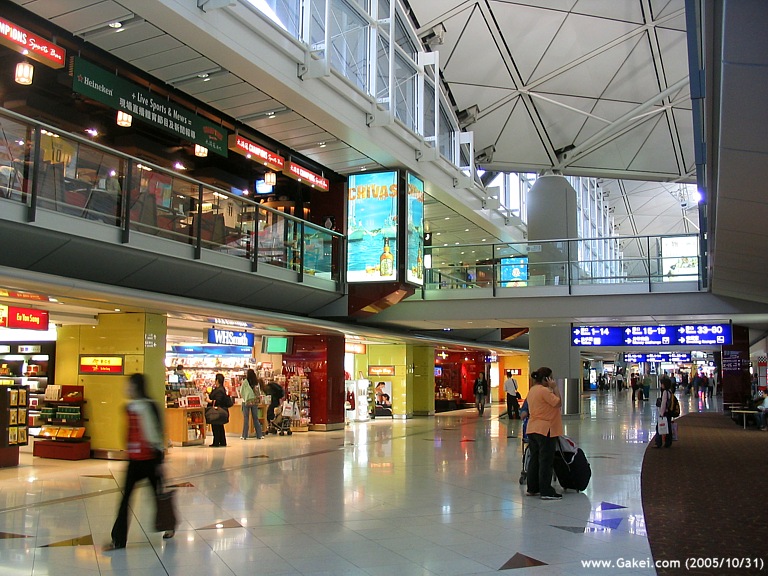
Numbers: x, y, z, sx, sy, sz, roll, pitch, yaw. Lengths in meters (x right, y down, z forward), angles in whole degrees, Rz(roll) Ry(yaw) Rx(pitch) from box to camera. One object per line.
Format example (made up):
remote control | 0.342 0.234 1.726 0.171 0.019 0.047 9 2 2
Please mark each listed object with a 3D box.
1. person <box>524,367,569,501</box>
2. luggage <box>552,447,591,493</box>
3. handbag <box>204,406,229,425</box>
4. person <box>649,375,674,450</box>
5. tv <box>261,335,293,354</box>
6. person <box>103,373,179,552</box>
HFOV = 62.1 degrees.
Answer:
person | 2.464 2.241 9.935 0.565 1.985 0.536 -3 -6 12
luggage | 3.124 2.849 10.446 0.595 0.875 0.533 -7 19 8
handbag | -4.332 3.256 16.358 0.595 0.432 0.470 -2 -6 4
person | 6.805 3.028 15.578 0.509 1.733 1.101 -4 -7 22
tv | -3.455 1.829 20.563 1.079 0.527 0.705 3 -8 0
person | -2.873 2.015 7.492 0.570 2.008 0.421 -4 -7 20
